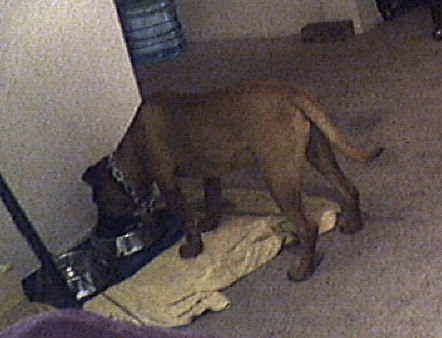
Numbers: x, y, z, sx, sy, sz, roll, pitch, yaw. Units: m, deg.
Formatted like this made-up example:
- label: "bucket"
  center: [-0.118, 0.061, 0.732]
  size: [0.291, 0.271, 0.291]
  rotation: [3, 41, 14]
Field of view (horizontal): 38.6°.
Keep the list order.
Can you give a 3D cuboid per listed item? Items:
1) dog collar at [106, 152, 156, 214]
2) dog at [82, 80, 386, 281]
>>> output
- label: "dog collar"
  center: [-0.243, 0.031, 1.700]
  size: [0.032, 0.136, 0.073]
  rotation: [-38, -3, -22]
- label: "dog"
  center: [-0.008, 0.025, 1.752]
  size: [0.805, 0.569, 0.286]
  rotation: [-1, 24, 21]
